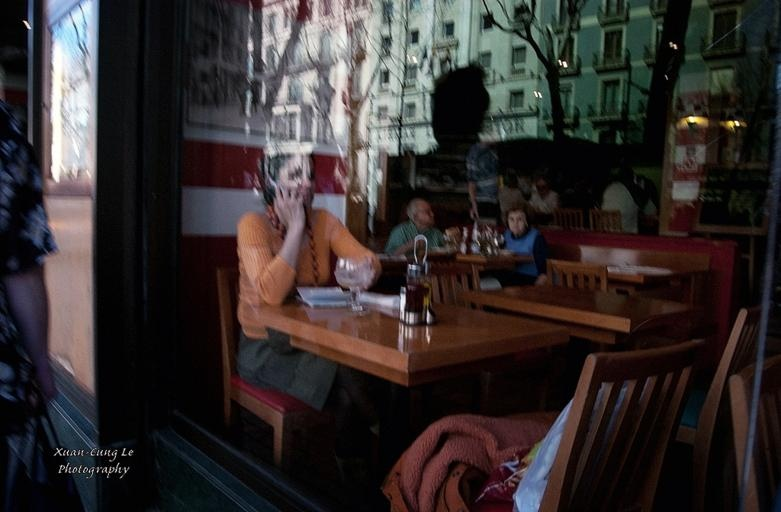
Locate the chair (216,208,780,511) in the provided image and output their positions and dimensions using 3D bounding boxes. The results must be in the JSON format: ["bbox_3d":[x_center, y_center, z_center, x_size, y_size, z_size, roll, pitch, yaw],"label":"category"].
[{"bbox_3d":[-0.082,0.138,2.436,1.183,0.831,1.241,-4,7,-41],"label":"chair"}]

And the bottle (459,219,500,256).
[{"bbox_3d":[0.542,-0.118,3.701,0.210,0.114,0.166,5,-6,-28],"label":"bottle"}]

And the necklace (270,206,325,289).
[{"bbox_3d":[-0.397,-0.028,2.489,0.199,0.300,0.095,5,-17,8],"label":"necklace"}]

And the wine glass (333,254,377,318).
[{"bbox_3d":[-0.139,0.092,2.390,0.142,0.191,0.271,5,13,9],"label":"wine glass"}]
